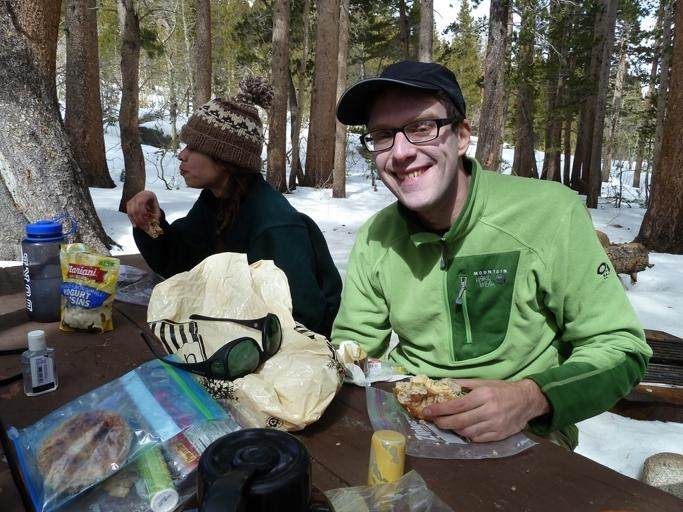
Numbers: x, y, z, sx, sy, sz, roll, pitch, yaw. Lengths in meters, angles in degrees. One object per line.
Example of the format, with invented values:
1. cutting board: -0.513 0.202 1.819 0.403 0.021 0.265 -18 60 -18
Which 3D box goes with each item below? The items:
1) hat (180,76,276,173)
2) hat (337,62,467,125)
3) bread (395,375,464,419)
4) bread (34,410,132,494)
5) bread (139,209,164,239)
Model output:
1. hat: -0.696 -0.861 3.263 0.480 0.579 0.525 26 19 34
2. hat: 0.263 -0.727 2.350 0.431 0.242 0.343 15 -12 -20
3. bread: 0.326 0.486 1.944 0.192 0.100 0.150 -12 15 -17
4. bread: -0.773 0.586 1.586 0.251 0.151 0.223 -1 12 -32
5. bread: -1.199 -0.193 3.330 0.102 0.170 0.068 -31 -15 -12
